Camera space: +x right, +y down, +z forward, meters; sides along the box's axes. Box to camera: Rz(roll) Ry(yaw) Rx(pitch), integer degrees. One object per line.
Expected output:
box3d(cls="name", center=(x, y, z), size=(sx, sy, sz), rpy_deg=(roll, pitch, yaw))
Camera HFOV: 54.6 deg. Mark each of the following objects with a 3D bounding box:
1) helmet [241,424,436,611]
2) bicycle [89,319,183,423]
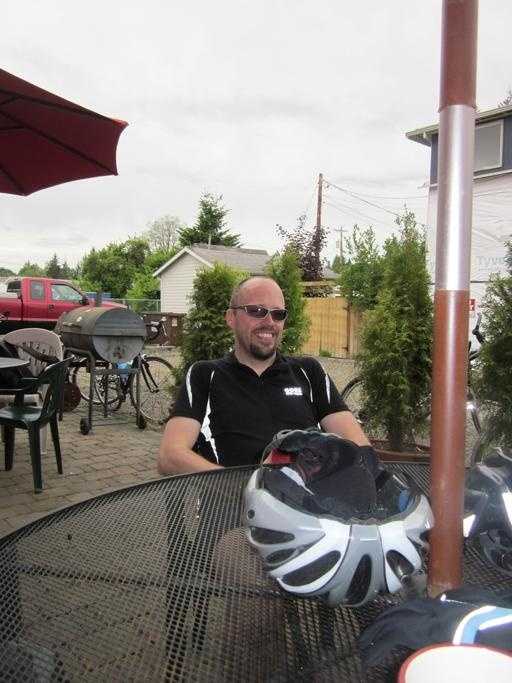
box3d(cls="helmet", center=(0.139, 0.309, 0.905), size=(0.303, 0.211, 0.447), rpy_deg=(-1, 1, 9))
box3d(cls="bicycle", center=(-1.879, 0.558, 7.070), size=(0.975, 1.245, 1.962), rpy_deg=(3, -4, -34))
